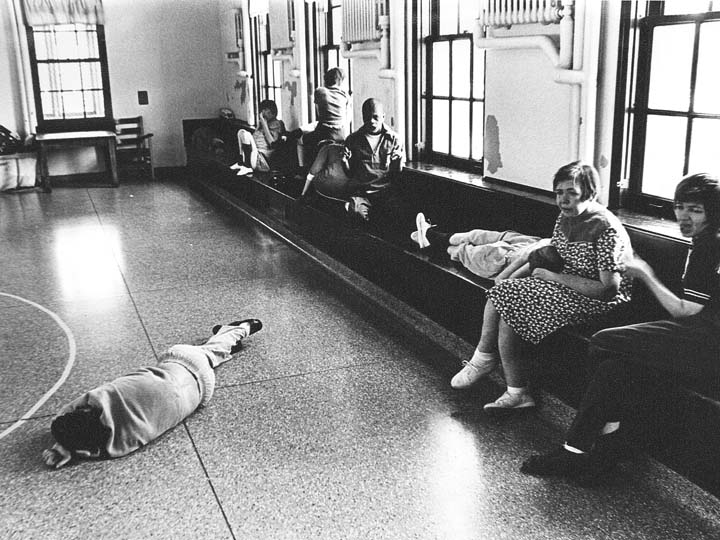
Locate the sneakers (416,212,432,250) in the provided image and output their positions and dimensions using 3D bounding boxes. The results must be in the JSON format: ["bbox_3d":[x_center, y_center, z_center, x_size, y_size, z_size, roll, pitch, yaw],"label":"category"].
[{"bbox_3d":[0.475,-0.284,4.262,0.119,0.260,0.101,6,6,37],"label":"sneakers"}]

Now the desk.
[{"bbox_3d":[-4.817,-1.910,9.591,1.298,0.858,1.246,-11,24,-25],"label":"desk"}]

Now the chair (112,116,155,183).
[{"bbox_3d":[-4.081,-2.204,10.129,0.607,1.041,0.813,-9,22,-23],"label":"chair"}]

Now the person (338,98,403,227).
[{"bbox_3d":[0.104,-1.004,5.054,0.552,1.028,0.622,-4,19,-18],"label":"person"}]

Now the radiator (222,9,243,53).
[{"bbox_3d":[-2.211,-4.120,9.692,0.180,0.697,1.542,-7,22,-18],"label":"radiator"}]

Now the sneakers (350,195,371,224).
[{"bbox_3d":[0.017,-0.546,5.079,0.218,0.217,0.172,20,18,16],"label":"sneakers"}]

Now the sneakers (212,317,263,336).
[{"bbox_3d":[-0.840,0.392,3.931,0.259,0.067,0.149,-11,15,-37],"label":"sneakers"}]

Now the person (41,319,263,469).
[{"bbox_3d":[-1.062,0.658,3.044,0.358,0.324,1.092,31,30,20],"label":"person"}]
